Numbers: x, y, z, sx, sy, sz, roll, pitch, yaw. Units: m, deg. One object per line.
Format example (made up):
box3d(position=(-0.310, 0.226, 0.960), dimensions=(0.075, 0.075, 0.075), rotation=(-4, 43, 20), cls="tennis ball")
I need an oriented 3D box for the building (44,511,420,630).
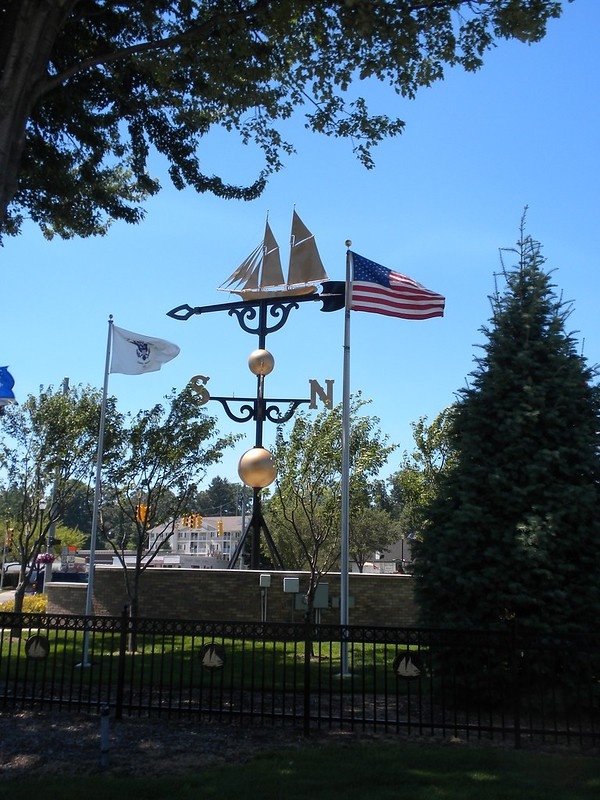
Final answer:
box3d(position=(-1.642, 5.533, 26.004), dimensions=(9.893, 1.606, 2.364), rotation=(0, -7, 5), cls="building")
